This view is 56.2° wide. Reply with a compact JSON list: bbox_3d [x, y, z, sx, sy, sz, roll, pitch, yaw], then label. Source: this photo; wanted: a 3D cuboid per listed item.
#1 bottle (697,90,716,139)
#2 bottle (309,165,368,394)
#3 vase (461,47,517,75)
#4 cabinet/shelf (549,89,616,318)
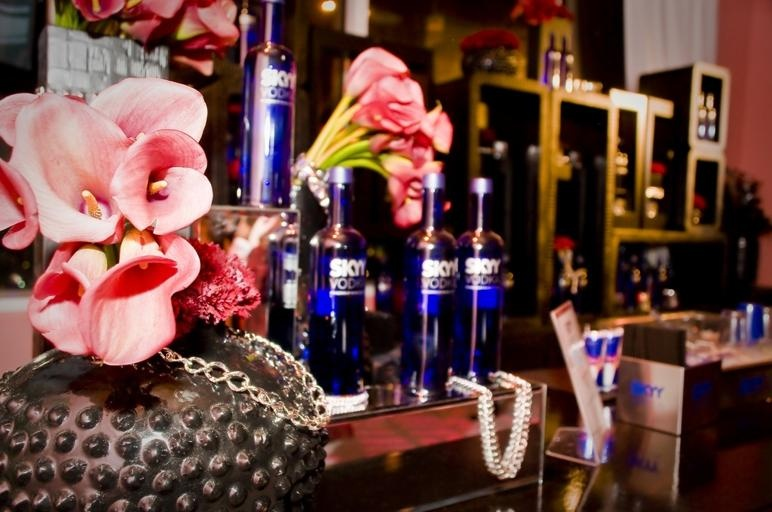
[{"bbox_3d":[1.337,-0.581,3.017,0.034,0.191,0.210,14,16,38],"label":"bottle"},{"bbox_3d":[-0.097,0.054,1.520,0.121,0.467,0.117,4,12,-1],"label":"bottle"},{"bbox_3d":[0.261,-0.490,1.855,0.075,0.037,0.093,-4,12,-30],"label":"vase"},{"bbox_3d":[0.774,-0.189,2.911,0.305,0.902,0.534,8,13,17],"label":"cabinet/shelf"}]
